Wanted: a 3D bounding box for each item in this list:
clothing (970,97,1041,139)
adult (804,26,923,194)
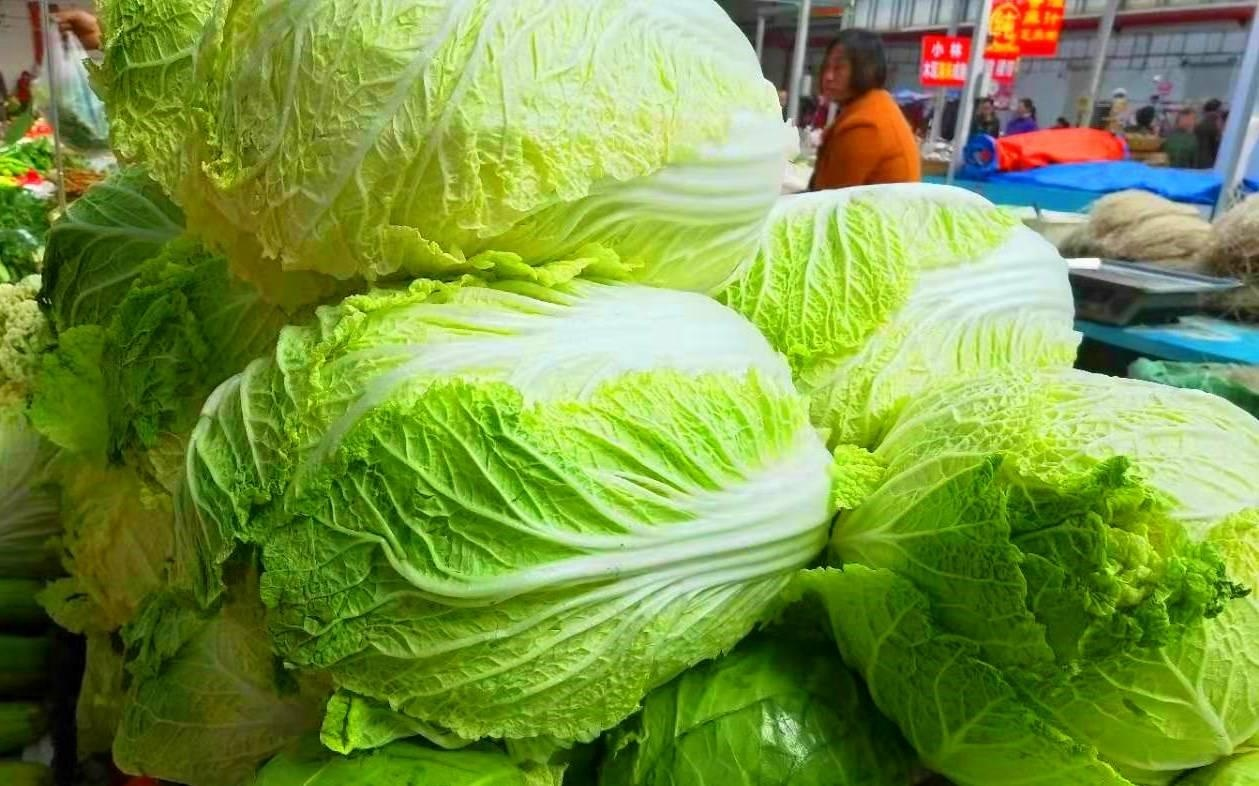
[{"bbox_3d":[1.839,-1.337,4.205,0.264,0.200,0.148,8,37,-1],"label":"clothing"},{"bbox_3d":[1.267,-1.397,4.602,0.534,0.981,0.725,1,19,8],"label":"adult"}]
